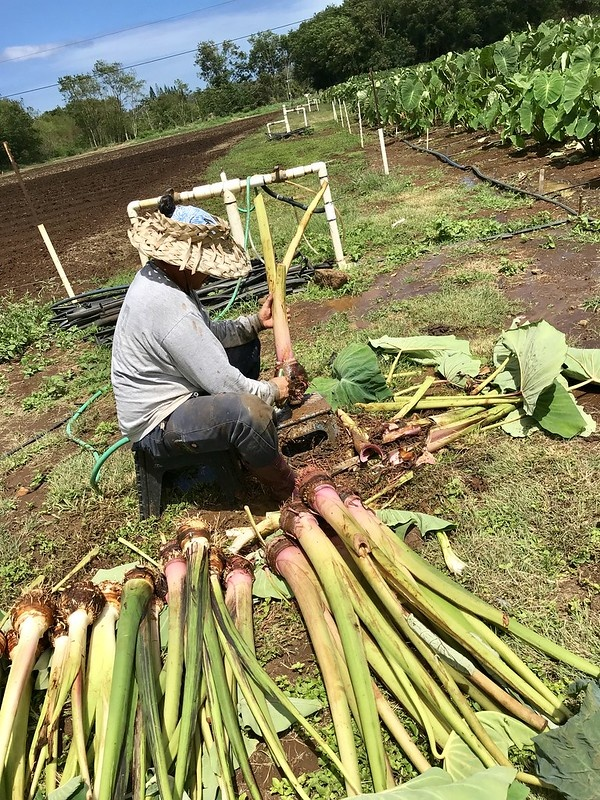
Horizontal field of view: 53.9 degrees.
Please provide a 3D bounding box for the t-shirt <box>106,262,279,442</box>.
[{"bbox_3d":[-0.509,-0.370,3.104,0.995,0.907,0.717,-13,39,-11],"label":"t-shirt"}]

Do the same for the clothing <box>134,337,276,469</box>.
[{"bbox_3d":[-0.505,0.080,2.773,0.637,0.218,0.591,-19,35,18],"label":"clothing"}]

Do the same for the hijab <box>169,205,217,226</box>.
[{"bbox_3d":[-0.525,-0.881,2.829,0.236,0.078,0.127,7,29,6],"label":"hijab"}]

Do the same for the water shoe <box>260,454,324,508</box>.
[{"bbox_3d":[-0.047,0.375,2.700,0.301,0.275,0.129,-10,45,30],"label":"water shoe"}]

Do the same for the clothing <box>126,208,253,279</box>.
[{"bbox_3d":[-0.478,-0.787,2.837,0.586,0.192,0.533,7,36,15],"label":"clothing"}]
